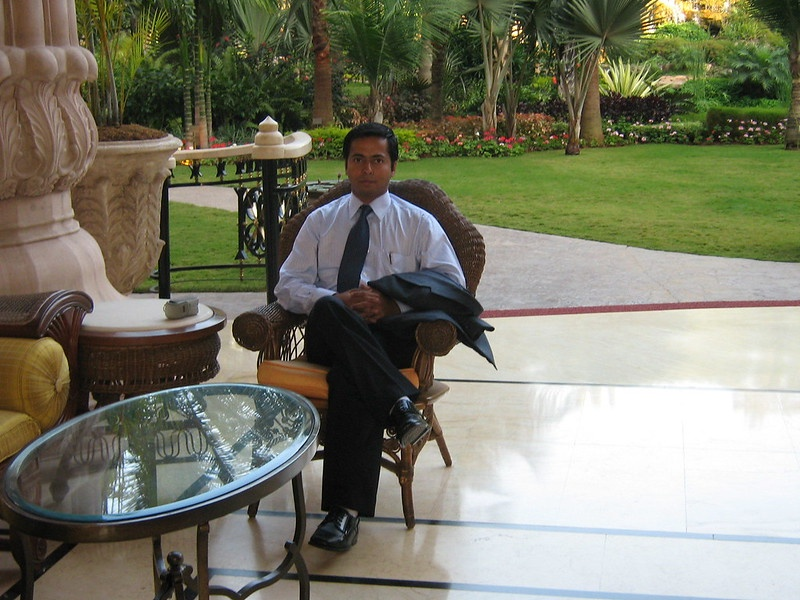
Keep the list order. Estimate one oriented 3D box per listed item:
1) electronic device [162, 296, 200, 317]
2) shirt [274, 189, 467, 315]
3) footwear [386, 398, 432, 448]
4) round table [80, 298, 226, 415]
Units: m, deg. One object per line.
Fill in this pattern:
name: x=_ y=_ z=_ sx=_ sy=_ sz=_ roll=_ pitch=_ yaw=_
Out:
electronic device: x=-0.940 y=0.024 z=3.020 sx=0.082 sy=0.086 sz=0.146 roll=-6 pitch=3 yaw=23
shirt: x=-0.131 y=-0.185 z=3.197 sx=0.788 sy=0.604 sz=0.423 roll=1 pitch=2 yaw=9
footwear: x=0.043 y=0.457 z=2.661 sx=0.142 sy=0.133 sz=0.296 roll=-7 pitch=4 yaw=-17
round table: x=-1.148 y=0.231 z=3.120 sx=0.658 sy=0.418 sz=0.636 roll=14 pitch=12 yaw=-3
